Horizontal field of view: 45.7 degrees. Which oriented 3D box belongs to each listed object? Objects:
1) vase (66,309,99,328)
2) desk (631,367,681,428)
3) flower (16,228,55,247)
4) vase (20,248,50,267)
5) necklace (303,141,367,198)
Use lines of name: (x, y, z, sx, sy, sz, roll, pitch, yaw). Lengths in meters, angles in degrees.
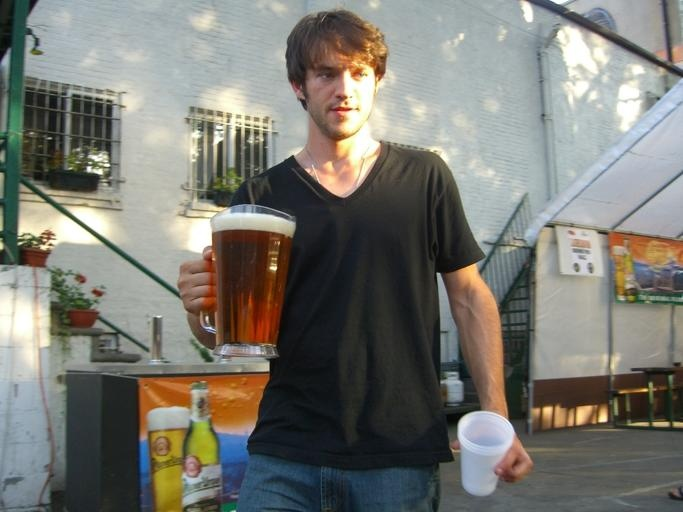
vase: (-2.956, 0.699, 9.283, 0.360, 0.220, 0.140, 0, 3, -32)
desk: (4.855, 2.110, 12.368, 1.050, 0.836, 0.985, -2, -4, 20)
flower: (-3.568, -0.211, 9.529, 0.398, 0.234, 0.746, 0, 2, -17)
vase: (-3.447, -0.002, 9.146, 0.268, 0.157, 0.250, 4, -10, -29)
necklace: (-0.010, -0.551, 5.255, 0.347, 0.388, 0.189, -9, 17, 7)
